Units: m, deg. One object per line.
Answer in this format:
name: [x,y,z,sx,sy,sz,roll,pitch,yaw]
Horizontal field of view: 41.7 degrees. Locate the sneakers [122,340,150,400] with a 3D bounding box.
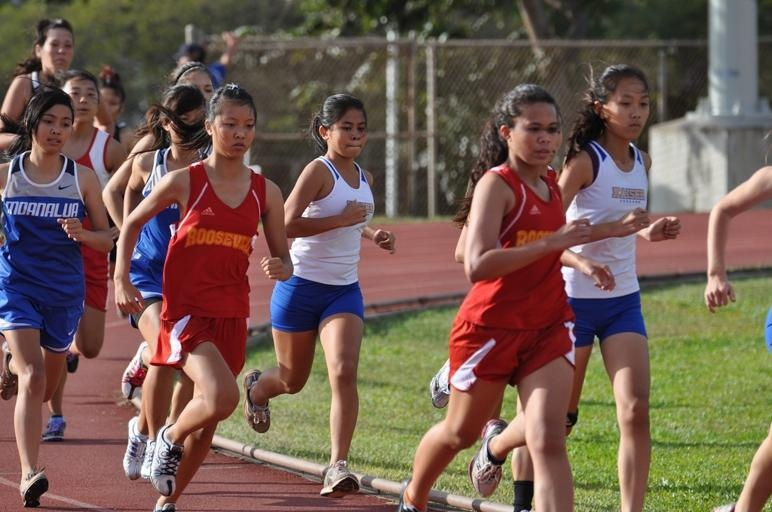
sneakers: [-2.138,0.980,8.584,0.230,0.535,0.183,-4,40,-43]

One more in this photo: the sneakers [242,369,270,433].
sneakers: [-1.051,1.186,8.114,0.184,0.521,0.213,-8,11,-18]

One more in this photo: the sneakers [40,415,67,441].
sneakers: [-2.690,1.405,8.163,0.107,0.126,0.283,2,0,-9]

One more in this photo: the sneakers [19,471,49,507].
sneakers: [-2.412,1.591,7.015,0.129,0.328,0.157,2,37,-44]

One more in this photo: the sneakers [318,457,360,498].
sneakers: [-0.327,1.585,7.210,0.283,0.283,0.294,0,3,0]

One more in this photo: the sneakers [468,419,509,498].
sneakers: [0.700,1.424,6.983,0.225,0.597,0.253,4,12,-19]
